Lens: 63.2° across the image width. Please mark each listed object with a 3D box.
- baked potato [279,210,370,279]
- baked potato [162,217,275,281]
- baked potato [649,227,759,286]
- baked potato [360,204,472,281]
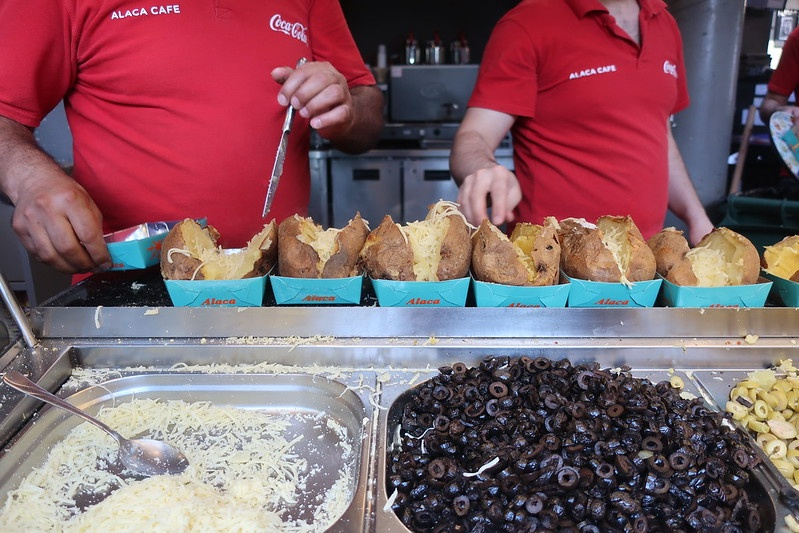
[{"bbox_3d":[-0.259,-0.074,2.225,0.224,0.242,0.281,0,7,-3],"label":"baked potato"},{"bbox_3d":[-0.628,-0.038,2.225,0.246,0.114,0.266,3,27,-8],"label":"baked potato"},{"bbox_3d":[1.054,-0.051,2.298,0.279,0.235,0.297,-4,11,-23],"label":"baked potato"},{"bbox_3d":[0.062,-0.084,2.253,0.375,0.189,0.286,1,32,5],"label":"baked potato"}]
